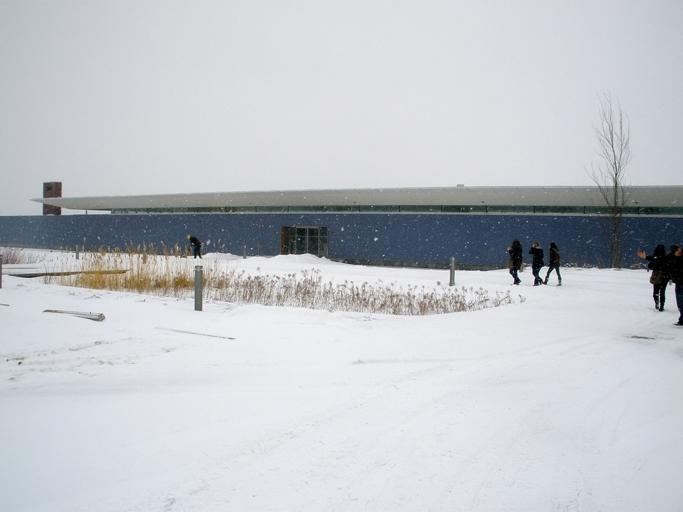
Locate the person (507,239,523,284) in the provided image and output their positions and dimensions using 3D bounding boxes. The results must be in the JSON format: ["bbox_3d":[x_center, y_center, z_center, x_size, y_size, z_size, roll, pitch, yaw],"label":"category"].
[{"bbox_3d":[4.355,0.156,20.034,0.314,1.113,1.087,-2,-3,12],"label":"person"}]

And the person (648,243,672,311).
[{"bbox_3d":[6.371,0.478,15.978,0.320,1.435,1.206,2,-4,5],"label":"person"}]

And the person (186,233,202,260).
[{"bbox_3d":[-5.265,-0.334,28.388,0.324,0.372,0.885,-16,-11,-21],"label":"person"}]
